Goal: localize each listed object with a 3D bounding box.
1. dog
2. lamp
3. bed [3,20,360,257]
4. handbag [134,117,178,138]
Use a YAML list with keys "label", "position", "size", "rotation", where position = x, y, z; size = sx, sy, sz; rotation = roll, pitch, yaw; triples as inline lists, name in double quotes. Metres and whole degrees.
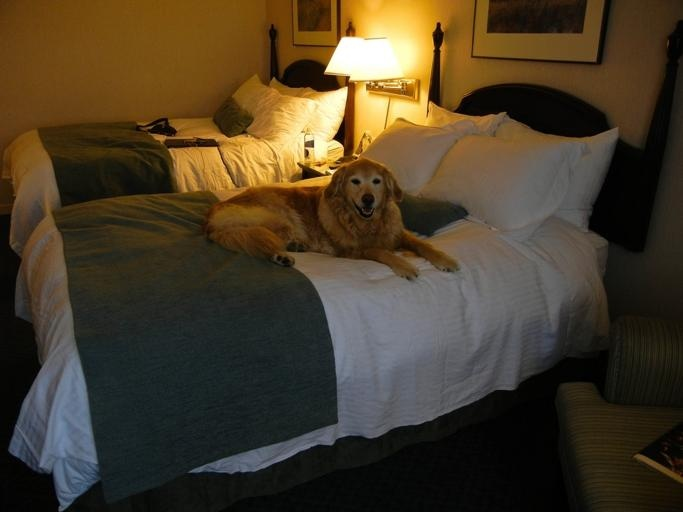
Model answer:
- label: "dog"
  position: [-0.103, -0.184, 2.787]
  size: [1.011, 0.437, 0.679]
  rotation: [14, 12, 23]
- label: "lamp"
  position: [0.221, -1.492, 4.217]
  size: [0.527, 0.538, 0.743]
  rotation: [-16, 34, -42]
- label: "bed"
  position: [-1.379, -1.102, 4.855]
  size: [2.669, 1.823, 2.098]
  rotation: [-9, 40, -18]
- label: "handbag"
  position: [-1.786, -1.222, 5.177]
  size: [0.428, 0.126, 0.321]
  rotation: [5, 12, -1]
